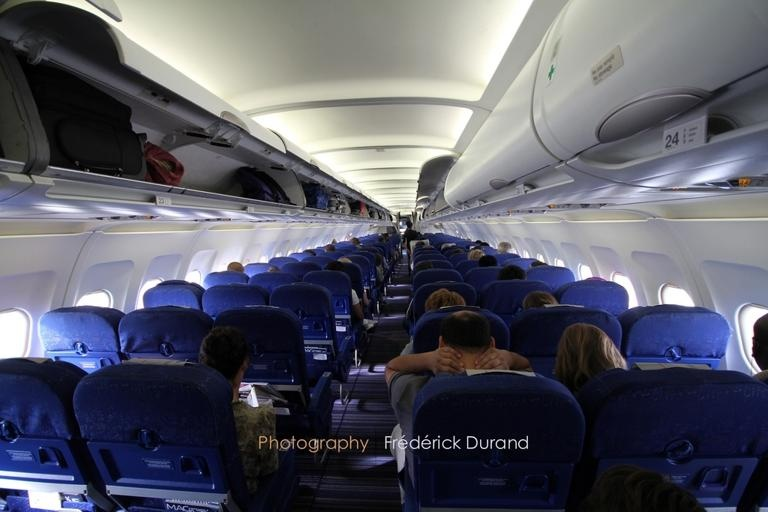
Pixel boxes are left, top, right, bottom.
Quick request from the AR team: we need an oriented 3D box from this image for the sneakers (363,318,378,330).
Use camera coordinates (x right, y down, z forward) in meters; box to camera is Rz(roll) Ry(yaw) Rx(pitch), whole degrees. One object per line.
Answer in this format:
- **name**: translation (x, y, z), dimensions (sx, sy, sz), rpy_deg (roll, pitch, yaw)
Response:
- **sneakers**: translation (-0.236, 1.131, 8.437), dimensions (0.208, 0.096, 0.262), rpy_deg (3, -6, -3)
